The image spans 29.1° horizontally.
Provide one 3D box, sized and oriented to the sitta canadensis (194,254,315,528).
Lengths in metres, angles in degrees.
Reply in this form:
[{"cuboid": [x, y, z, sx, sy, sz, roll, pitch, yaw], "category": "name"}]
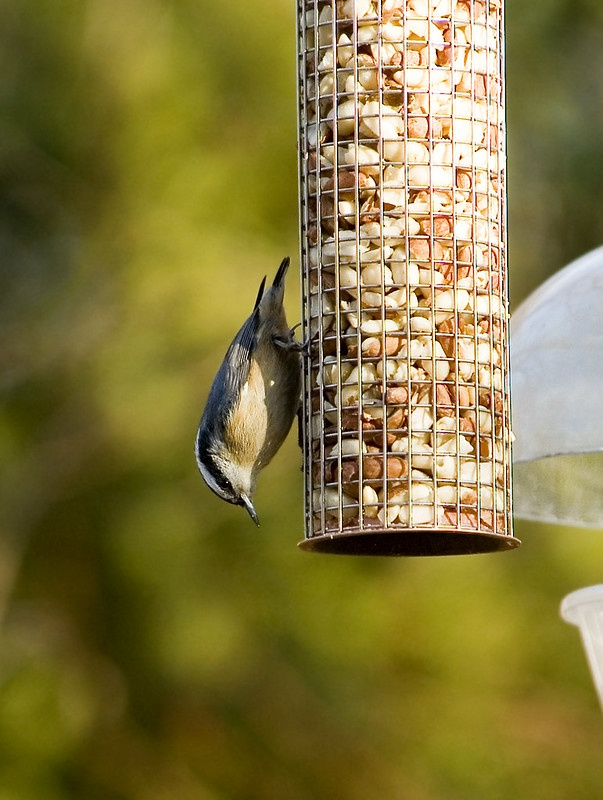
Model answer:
[{"cuboid": [-0.070, 0.029, 2.755, 0.221, 0.287, 0.688, 20, -60, 34], "category": "sitta canadensis"}]
